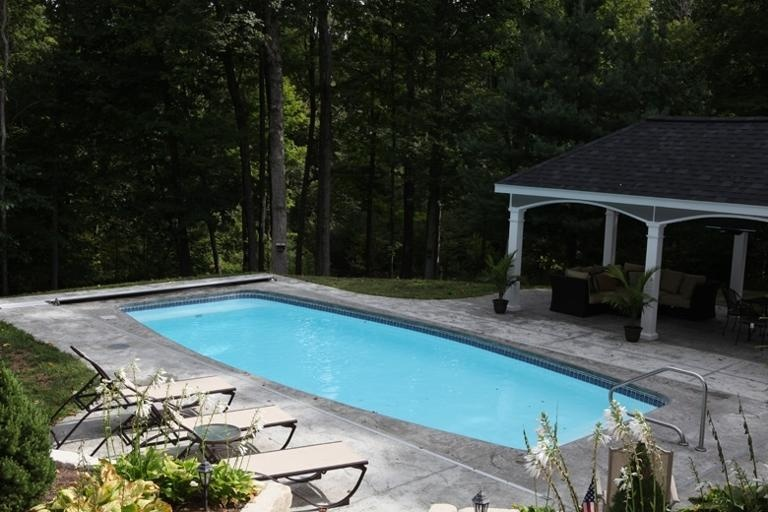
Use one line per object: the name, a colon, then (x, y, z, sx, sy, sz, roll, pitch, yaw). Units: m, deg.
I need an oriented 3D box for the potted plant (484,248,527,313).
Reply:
potted plant: (3.454, 0.768, 18.401, 1.462, 2.192, 1.554, 3, -1, 9)

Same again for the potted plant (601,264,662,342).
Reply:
potted plant: (6.511, 1.186, 17.419, 1.308, 1.836, 3.992, 1, 0, 13)
